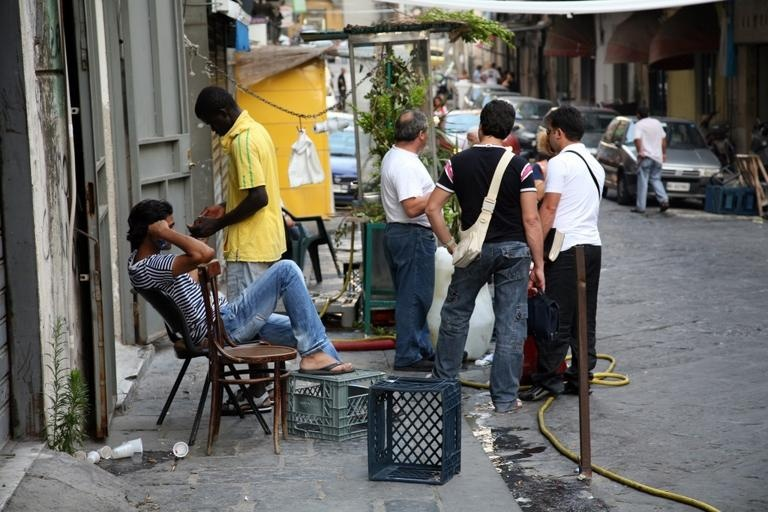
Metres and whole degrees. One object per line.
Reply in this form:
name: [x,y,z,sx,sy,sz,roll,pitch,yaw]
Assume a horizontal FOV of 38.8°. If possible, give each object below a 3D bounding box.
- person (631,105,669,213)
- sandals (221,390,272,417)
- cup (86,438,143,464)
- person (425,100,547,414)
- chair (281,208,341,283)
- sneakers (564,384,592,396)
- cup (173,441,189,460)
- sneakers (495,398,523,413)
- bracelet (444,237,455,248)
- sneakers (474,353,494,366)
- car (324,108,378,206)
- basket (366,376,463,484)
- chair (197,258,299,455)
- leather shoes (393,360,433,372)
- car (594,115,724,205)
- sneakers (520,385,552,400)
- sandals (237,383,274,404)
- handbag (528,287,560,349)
person: [5.023,-1.674,20.469,0.650,1.727,0.549,1,13,5]
sandals: [-1.164,1.278,9.428,0.455,0.206,0.203,1,-3,-2]
cup: [-2.099,1.484,8.472,0.385,0.162,0.143,-9,52,-23]
person: [0.918,0.002,9.524,0.993,2.585,0.782,2,13,8]
chair: [-0.997,-0.145,13.496,0.676,0.993,0.580,-9,1,-30]
sneakers: [1.757,1.215,9.835,0.221,0.072,0.151,2,2,7]
cup: [-1.595,1.512,8.584,0.135,0.103,0.214,-2,14,-11]
sneakers: [1.085,1.319,9.510,0.256,0.114,0.093,-10,11,-30]
bracelet: [0.594,-0.105,9.741,0.065,0.046,0.094,-25,9,10]
sneakers: [0.998,1.033,10.705,0.149,0.056,0.120,-5,7,-11]
car: [-0.680,-1.869,22.239,1.369,1.078,2.332,-1,-2,-4]
basket: [0.229,1.333,8.237,0.636,0.657,0.534,-2,-2,15]
chair: [-1.104,0.806,8.847,0.761,1.436,0.789,-1,1,4]
leather shoes: [0.284,1.051,10.420,0.345,0.146,0.134,-3,-1,9]
car: [5.444,-1.862,21.787,1.308,1.187,2.370,0,1,-8]
sneakers: [1.353,1.234,9.760,0.215,0.068,0.127,-19,22,-34]
sandals: [-1.089,1.199,9.480,0.373,0.175,0.140,1,1,-9]
handbag: [1.394,0.493,9.673,0.177,0.437,0.435,-3,4,-21]
